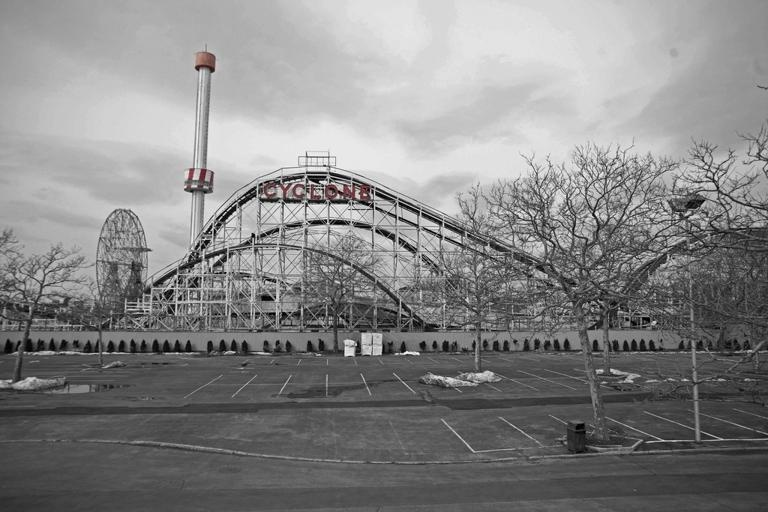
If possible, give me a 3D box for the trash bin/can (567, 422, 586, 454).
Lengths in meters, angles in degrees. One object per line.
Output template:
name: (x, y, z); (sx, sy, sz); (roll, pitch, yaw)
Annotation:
trash bin/can: (7.072, 6.640, 21.264); (0.686, 1.023, 0.773); (1, 0, 18)
